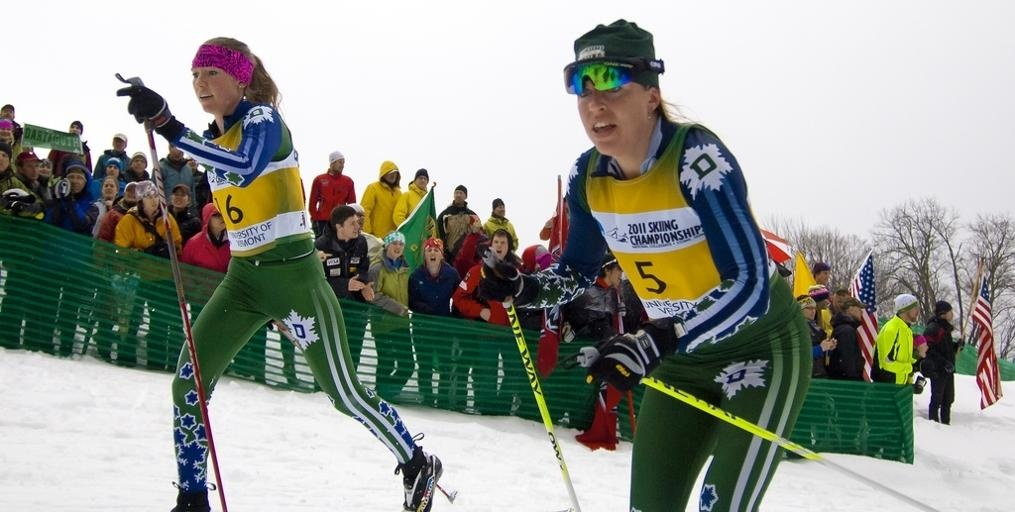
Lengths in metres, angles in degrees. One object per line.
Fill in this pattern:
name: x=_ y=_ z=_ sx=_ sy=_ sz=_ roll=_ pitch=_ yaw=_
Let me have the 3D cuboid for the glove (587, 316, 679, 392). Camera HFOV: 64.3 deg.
glove: x=1.207 y=0.947 z=7.626 sx=0.861 sy=0.533 sz=0.372 roll=-32 pitch=24 yaw=1

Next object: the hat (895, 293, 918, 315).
hat: x=7.242 y=0.874 z=14.629 sx=0.413 sy=0.333 sz=0.391 roll=-10 pitch=7 yaw=10

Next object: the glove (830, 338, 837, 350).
glove: x=5.227 y=1.413 z=12.954 sx=0.112 sy=0.099 sz=0.176 roll=-26 pitch=-22 yaw=4

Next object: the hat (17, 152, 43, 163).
hat: x=-6.906 y=-1.424 z=11.640 sx=0.340 sy=0.167 sz=0.126 roll=4 pitch=-9 yaw=-2

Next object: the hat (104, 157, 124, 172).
hat: x=-6.484 y=-1.519 z=13.292 sx=0.285 sy=0.291 sz=0.372 roll=-2 pitch=0 yaw=-15

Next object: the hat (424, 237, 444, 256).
hat: x=-1.095 y=-0.116 z=12.170 sx=0.245 sy=0.279 sz=0.309 roll=-1 pitch=-17 yaw=-3

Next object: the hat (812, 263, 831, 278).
hat: x=6.046 y=0.279 z=15.743 sx=0.280 sy=0.282 sz=0.347 roll=8 pitch=2 yaw=-36

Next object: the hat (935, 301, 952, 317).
hat: x=8.273 y=1.018 z=15.336 sx=0.257 sy=0.221 sz=0.197 roll=-34 pitch=12 yaw=3

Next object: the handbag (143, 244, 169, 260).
handbag: x=-4.978 y=-0.063 z=11.560 sx=0.315 sy=0.114 sz=0.322 roll=7 pitch=4 yaw=40

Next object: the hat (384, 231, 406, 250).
hat: x=-1.702 y=-0.245 z=12.141 sx=0.215 sy=0.184 sz=0.275 roll=2 pitch=1 yaw=-30

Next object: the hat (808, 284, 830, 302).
hat: x=5.664 y=0.684 z=14.660 sx=0.363 sy=0.258 sz=0.358 roll=0 pitch=2 yaw=-26

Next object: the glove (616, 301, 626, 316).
glove: x=1.673 y=0.774 z=11.820 sx=0.152 sy=0.159 sz=0.115 roll=25 pitch=27 yaw=37

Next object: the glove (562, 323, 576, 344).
glove: x=0.908 y=1.153 z=11.932 sx=0.188 sy=0.268 sz=0.116 roll=-5 pitch=2 yaw=17

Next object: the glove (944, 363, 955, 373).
glove: x=8.089 y=2.058 z=14.811 sx=0.150 sy=0.146 sz=0.055 roll=5 pitch=-9 yaw=-8
